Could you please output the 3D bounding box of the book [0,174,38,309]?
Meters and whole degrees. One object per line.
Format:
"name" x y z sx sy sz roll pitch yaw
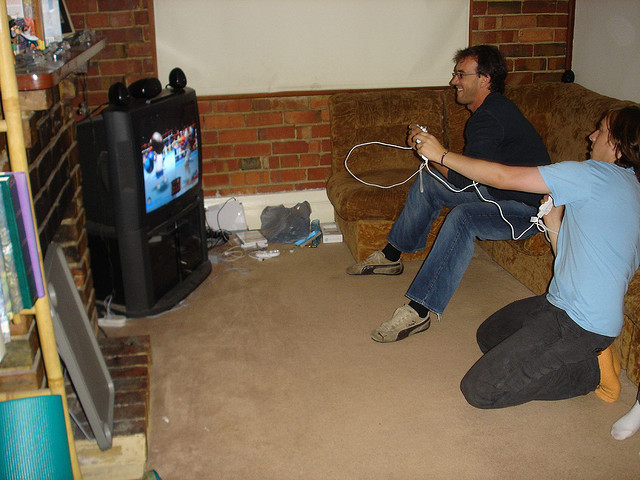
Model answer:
"book" -0.809 0.010 1.412 0.061 0.272 0.257 -2 13 -16

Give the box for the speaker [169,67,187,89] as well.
"speaker" -0.850 -0.962 3.113 0.087 0.113 0.095 -7 23 -15

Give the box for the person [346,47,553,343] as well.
"person" 0.746 -0.335 2.960 1.143 1.517 0.956 3 18 7

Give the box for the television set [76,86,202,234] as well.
"television set" -1.075 -0.484 3.112 0.488 0.764 0.872 7 24 14

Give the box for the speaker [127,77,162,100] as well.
"speaker" -0.957 -0.829 2.831 0.147 0.101 0.122 -1 20 20

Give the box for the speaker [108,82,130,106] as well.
"speaker" -1.020 -0.737 2.652 0.098 0.111 0.067 -9 23 -21

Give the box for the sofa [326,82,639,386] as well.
"sofa" 0.799 -0.155 3.374 1.447 0.940 2.071 -6 34 -3

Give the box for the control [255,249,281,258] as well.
"control" -0.368 0.092 3.716 0.119 0.026 0.071 -1 24 -1

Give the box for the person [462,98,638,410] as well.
"person" 1.017 0.122 2.186 0.660 1.301 0.356 5 22 14
